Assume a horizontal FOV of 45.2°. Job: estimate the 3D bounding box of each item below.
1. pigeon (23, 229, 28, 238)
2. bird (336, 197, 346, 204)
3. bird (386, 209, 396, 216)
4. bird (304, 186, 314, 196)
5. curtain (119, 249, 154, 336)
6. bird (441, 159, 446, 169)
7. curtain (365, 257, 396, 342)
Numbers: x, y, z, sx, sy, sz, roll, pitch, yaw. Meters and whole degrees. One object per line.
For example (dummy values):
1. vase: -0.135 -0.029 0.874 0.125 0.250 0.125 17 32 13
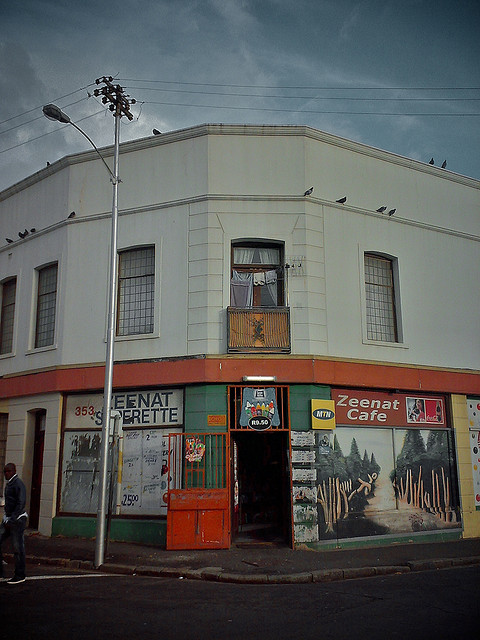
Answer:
1. pigeon: -6.450 -2.649 17.457 0.061 0.248 0.260 11 -15 -36
2. bird: 2.591 -3.068 14.754 0.233 0.153 0.224 -3 -14 20
3. bird: 4.072 -2.899 15.574 0.205 0.129 0.145 1 -13 6
4. bird: 1.725 -3.239 14.362 0.211 0.343 0.347 -1 -13 13
5. curtain: -2.684 -0.732 15.075 0.992 2.350 0.093 -5 22 -22
6. bird: 5.882 -4.470 16.752 0.110 0.186 0.299 -1 -13 11
7. curtain: 3.697 -0.557 15.341 1.027 2.255 0.191 11 -15 -36
